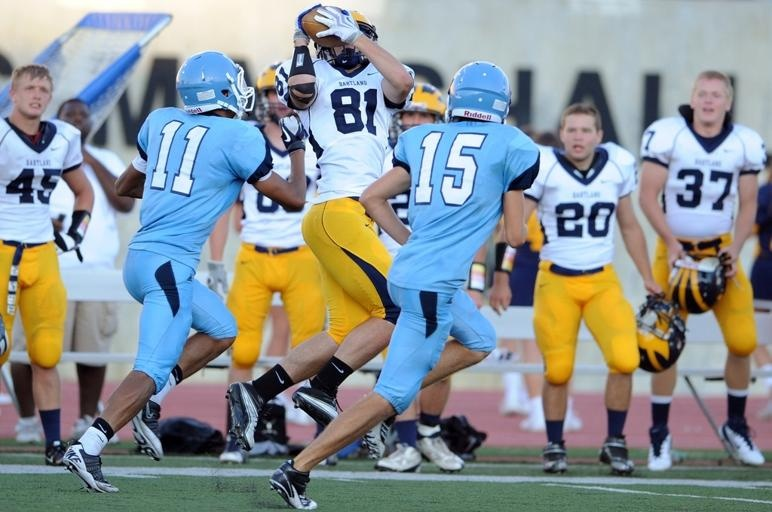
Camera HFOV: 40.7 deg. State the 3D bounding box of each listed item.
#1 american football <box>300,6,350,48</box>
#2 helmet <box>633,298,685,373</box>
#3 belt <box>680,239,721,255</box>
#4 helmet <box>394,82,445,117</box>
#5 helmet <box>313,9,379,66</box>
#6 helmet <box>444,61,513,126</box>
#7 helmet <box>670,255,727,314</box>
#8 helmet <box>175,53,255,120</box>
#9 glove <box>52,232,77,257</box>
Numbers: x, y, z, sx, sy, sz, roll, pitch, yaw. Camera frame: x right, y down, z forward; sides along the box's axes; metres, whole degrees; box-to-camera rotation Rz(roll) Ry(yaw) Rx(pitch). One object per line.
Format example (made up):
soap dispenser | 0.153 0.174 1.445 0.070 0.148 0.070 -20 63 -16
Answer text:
american football | -0.437 -1.530 7.061 0.293 0.242 0.229 21 13 15
helmet | 1.999 0.570 7.642 0.390 0.515 0.402 2 2 -15
belt | 2.405 -0.065 7.920 0.202 0.076 0.155 1 1 -22
helmet | 0.267 -1.230 8.111 0.267 0.296 0.368 13 3 9
helmet | -0.271 -1.455 7.165 0.345 0.346 0.416 1 -7 -6
helmet | 0.611 -1.122 6.735 0.315 0.440 0.358 9 -42 1
helmet | 2.321 0.200 7.728 0.430 0.407 0.337 4 -4 -40
helmet | -1.109 -1.149 6.940 0.477 0.397 0.361 -11 19 -31
glove | -2.322 -0.092 7.479 0.089 0.186 0.099 -26 0 -19
